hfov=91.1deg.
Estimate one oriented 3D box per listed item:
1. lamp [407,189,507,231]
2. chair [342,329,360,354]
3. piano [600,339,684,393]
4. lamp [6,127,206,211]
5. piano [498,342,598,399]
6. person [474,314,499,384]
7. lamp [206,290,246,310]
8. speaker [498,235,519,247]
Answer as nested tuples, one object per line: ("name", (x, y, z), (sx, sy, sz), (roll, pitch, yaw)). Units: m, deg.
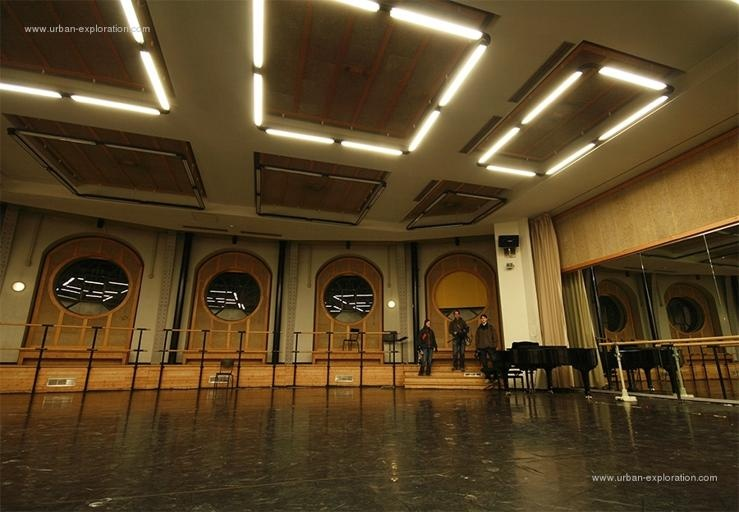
("lamp", (2.482, -1.341, 10.541), (1.463, 0.268, 1.232), (5, -20, -25))
("chair", (-0.595, 2.929, 12.644), (0.632, 0.783, 0.302), (3, -19, -6))
("piano", (5.783, 2.402, 7.800), (0.788, 1.008, 2.374), (-3, -17, 14))
("lamp", (-5.823, -1.937, 8.648), (3.328, 0.563, 2.530), (6, -16, -18))
("piano", (3.933, 2.378, 8.434), (1.651, 1.053, 1.787), (4, -6, -35))
("person", (3.150, 2.493, 9.728), (0.504, 1.707, 0.883), (-3, -19, 15))
("lamp", (-4.955, 1.529, 12.667), (1.211, 0.673, 0.212), (8, -20, -20))
("speaker", (4.007, -0.430, 10.506), (0.539, 0.379, 0.221), (-3, -19, 14))
